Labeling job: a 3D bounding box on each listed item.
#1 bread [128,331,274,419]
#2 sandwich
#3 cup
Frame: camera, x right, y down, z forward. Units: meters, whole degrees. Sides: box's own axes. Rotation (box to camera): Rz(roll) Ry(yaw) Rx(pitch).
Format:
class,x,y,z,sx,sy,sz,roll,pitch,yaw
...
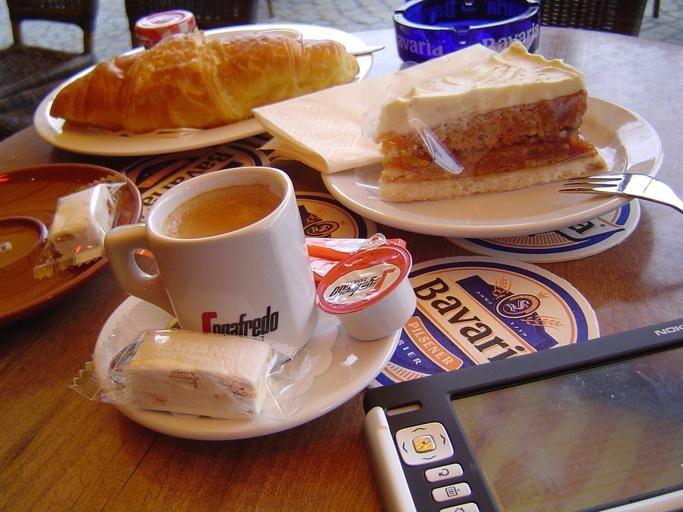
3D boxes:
class,x,y,z,sx,sy,sz,roll,pitch,yaw
bread,-0.128,0.107,0.503,0.141,0.040,0.062,-2,27,14
sandwich,0.212,-0.193,0.837,0.274,0.163,0.381,22,34,37
cup,-0.128,0.002,0.551,0.198,0.139,0.100,-12,48,3
